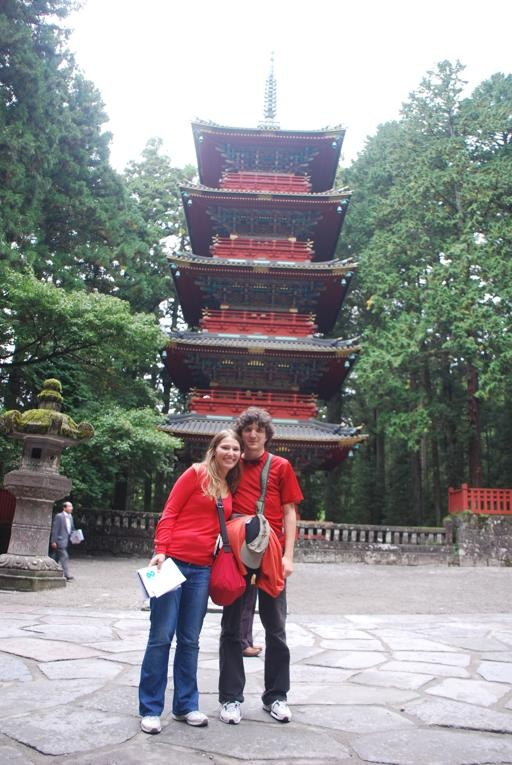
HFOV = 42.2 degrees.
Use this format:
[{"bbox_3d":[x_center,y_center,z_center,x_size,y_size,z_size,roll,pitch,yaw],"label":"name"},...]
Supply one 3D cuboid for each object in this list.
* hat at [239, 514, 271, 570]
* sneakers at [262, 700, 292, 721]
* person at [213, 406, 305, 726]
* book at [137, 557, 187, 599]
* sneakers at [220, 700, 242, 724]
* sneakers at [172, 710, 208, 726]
[{"bbox_3d":[0.002,0.746,3.080,0.119,0.261,0.138,0,-11,11],"label":"hat"},{"bbox_3d":[0.099,1.490,2.987,0.059,0.057,0.147,11,-23,-20],"label":"sneakers"},{"bbox_3d":[-0.025,0.868,3.205,0.487,1.487,0.428,1,-8,-2],"label":"person"},{"bbox_3d":[-0.412,0.860,2.916,0.198,0.158,0.117,5,-11,-13],"label":"book"},{"bbox_3d":[-0.113,1.460,2.936,0.101,0.074,0.130,2,-11,-2],"label":"sneakers"},{"bbox_3d":[-0.282,1.440,2.863,0.146,0.060,0.058,-2,-9,15],"label":"sneakers"}]
